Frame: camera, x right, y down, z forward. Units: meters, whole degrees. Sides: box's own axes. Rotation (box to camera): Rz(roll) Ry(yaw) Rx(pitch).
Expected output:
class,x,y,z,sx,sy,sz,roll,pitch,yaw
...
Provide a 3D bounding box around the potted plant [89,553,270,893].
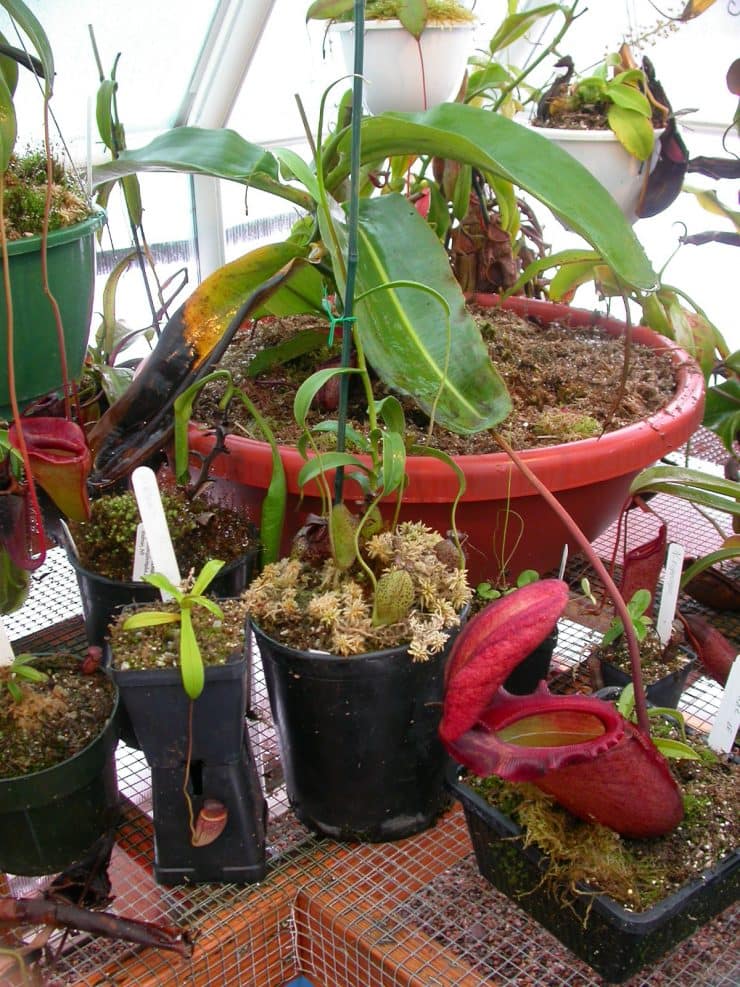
class,x,y,z,sx,sy,sz,roll,pitch,yaw
potted plant,-0.129,0.151,0.574,0.103,0.242,0.202,-1,18,-8

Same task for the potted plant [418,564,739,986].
class,x,y,z,sx,sy,sz,roll,pitch,yaw
potted plant,0.132,0.191,0.520,0.143,0.225,0.155,-32,44,-23

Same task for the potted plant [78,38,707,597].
class,x,y,z,sx,sy,sz,roll,pitch,yaw
potted plant,-0.026,-0.179,0.775,0.552,0.322,0.378,15,39,10
